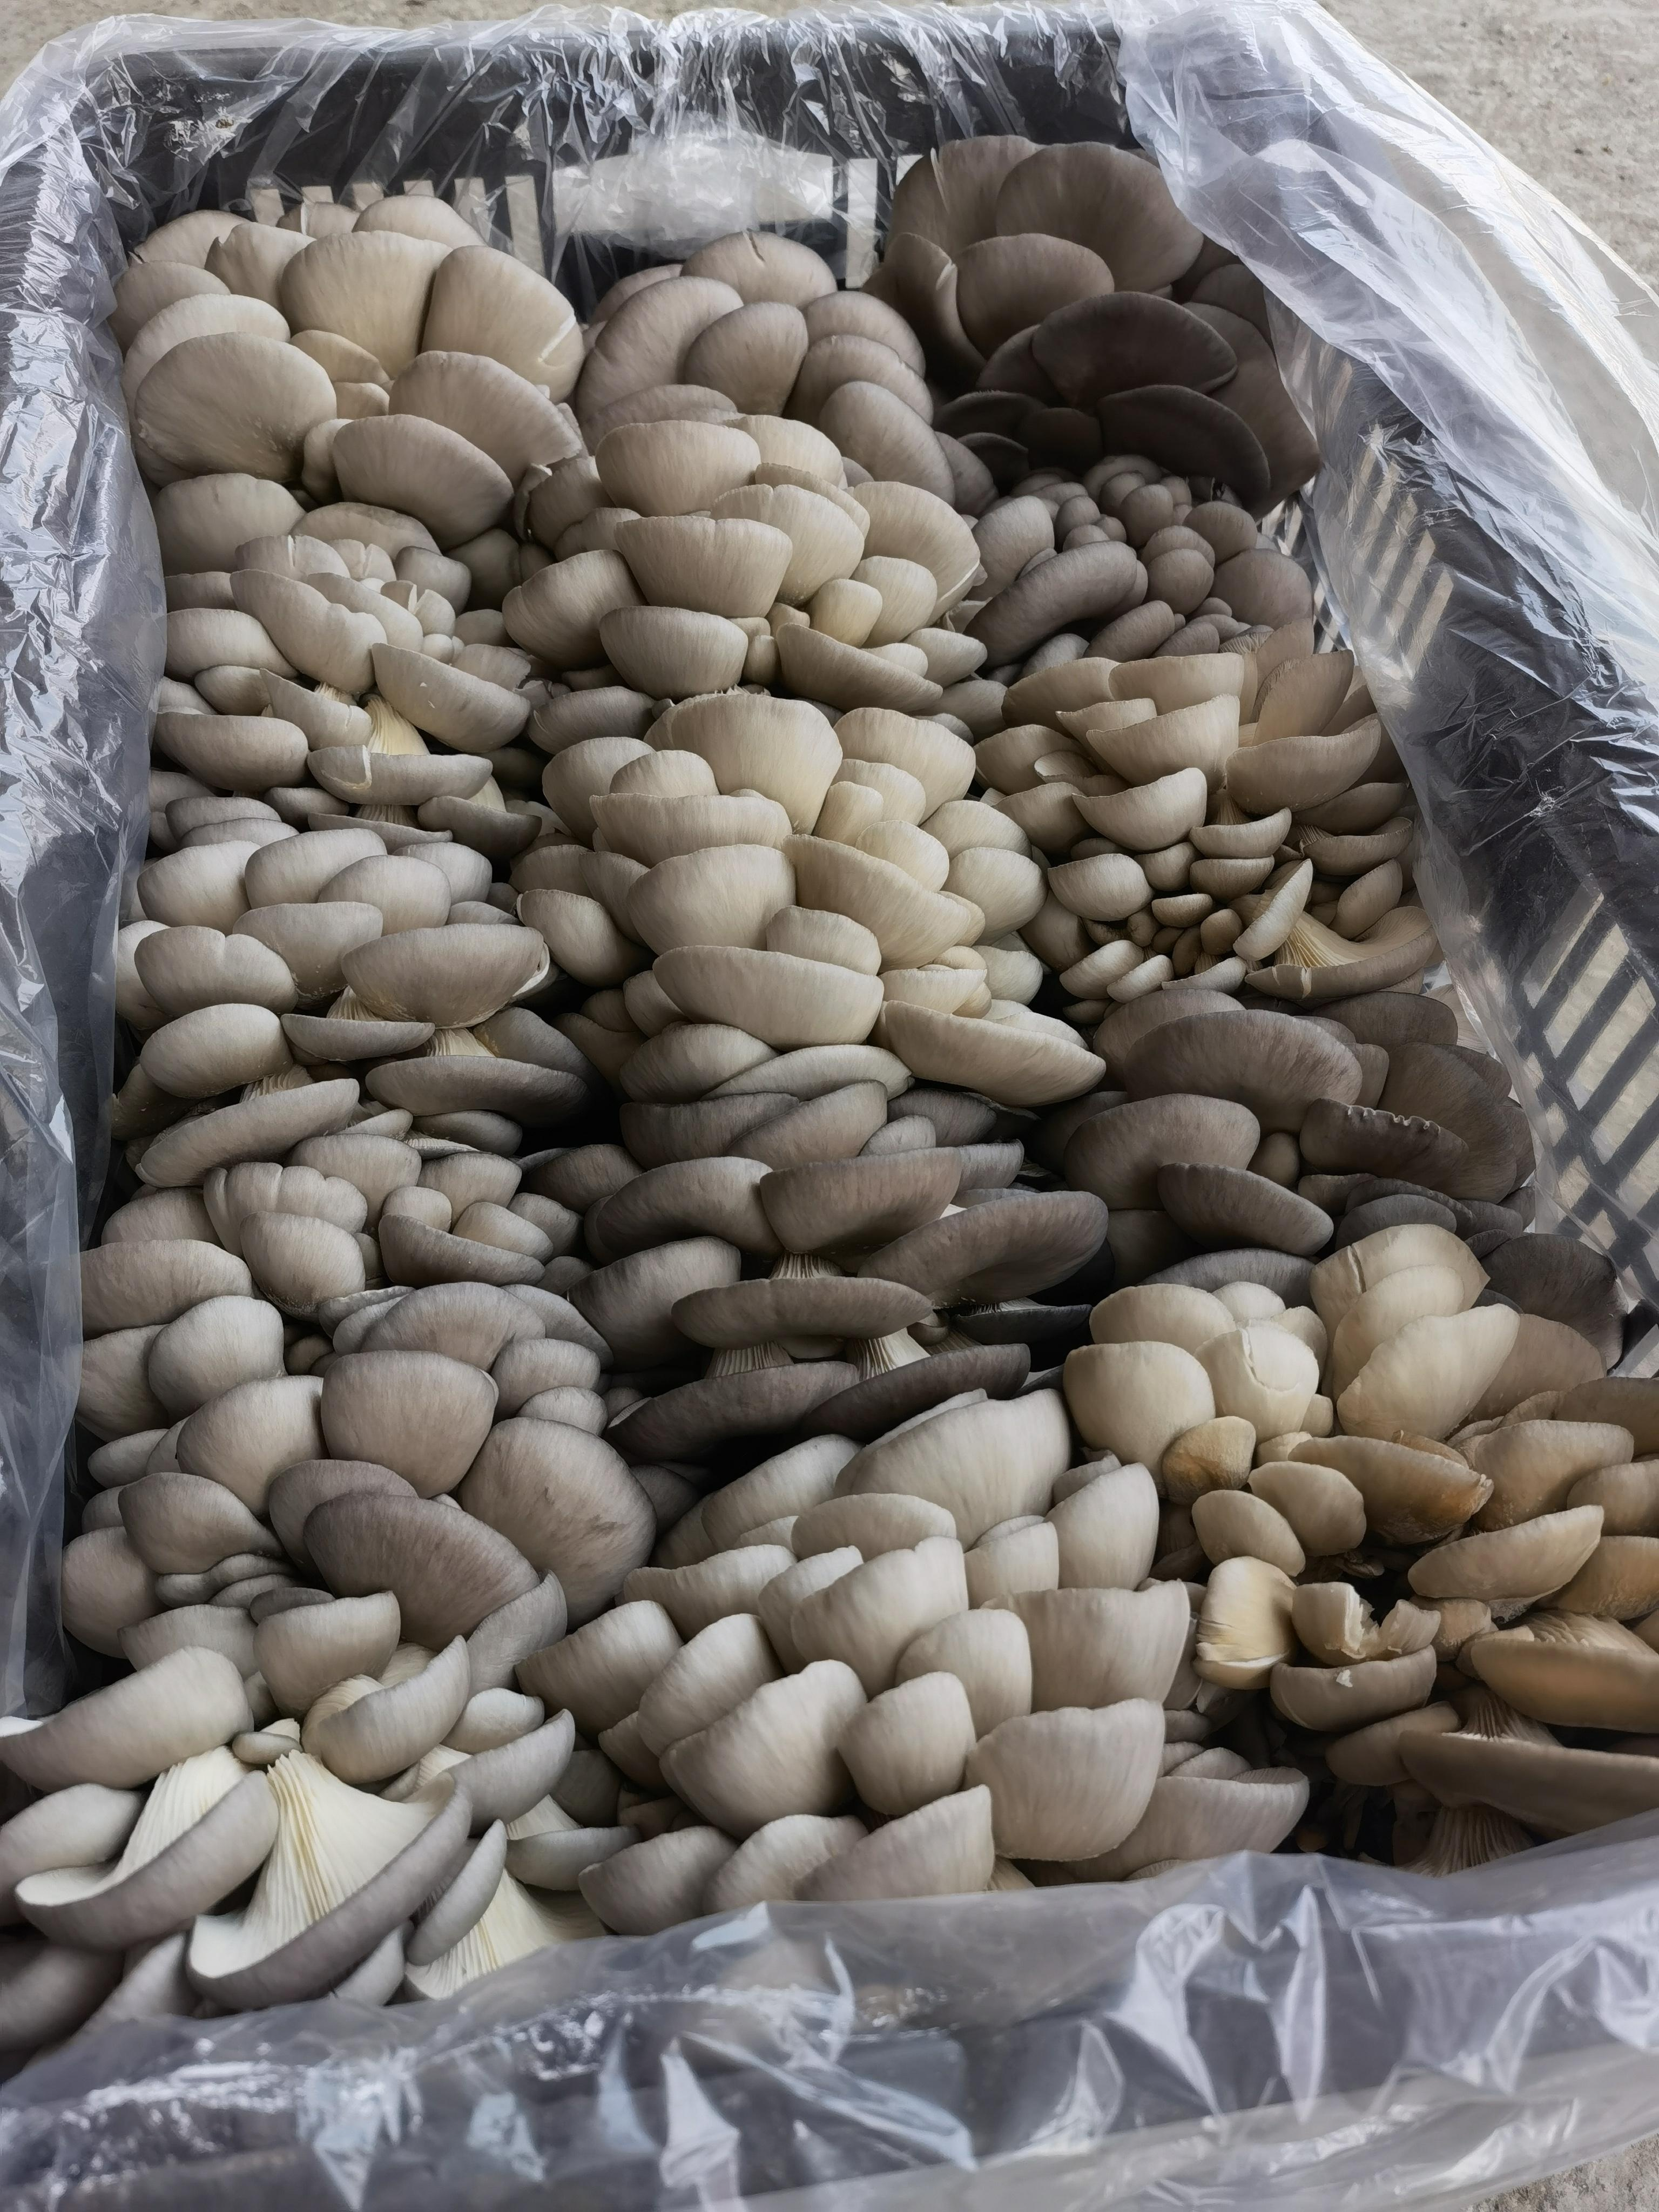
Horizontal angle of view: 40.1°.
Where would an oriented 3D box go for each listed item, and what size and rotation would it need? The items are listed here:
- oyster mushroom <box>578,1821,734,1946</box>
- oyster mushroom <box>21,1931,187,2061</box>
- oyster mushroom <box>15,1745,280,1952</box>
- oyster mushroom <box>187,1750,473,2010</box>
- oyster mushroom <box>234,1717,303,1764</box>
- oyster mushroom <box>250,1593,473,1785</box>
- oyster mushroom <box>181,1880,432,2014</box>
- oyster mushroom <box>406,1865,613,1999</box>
[{"bbox_3d":[-0.051,0.234,0.685,0.046,0.029,0.012,-16,16,7],"label":"oyster mushroom"},{"bbox_3d":[-0.207,0.260,0.665,0.035,0.033,0.027,-5,41,-42],"label":"oyster mushroom"},{"bbox_3d":[-0.210,0.222,0.697,0.077,0.028,0.068,-16,9,20],"label":"oyster mushroom"},{"bbox_3d":[-0.160,0.232,0.687,0.068,0.063,0.040,-16,62,-48],"label":"oyster mushroom"},{"bbox_3d":[-0.176,0.198,0.714,0.015,0.005,0.013,12,0,3],"label":"oyster mushroom"},{"bbox_3d":[-0.138,0.183,0.753,0.063,0.058,0.043,46,58,-19],"label":"oyster mushroom"},{"bbox_3d":[-0.150,0.240,0.660,0.061,0.056,0.035,15,32,-16],"label":"oyster mushroom"},{"bbox_3d":[-0.099,0.256,0.713,0.040,0.031,0.037,-18,10,-24],"label":"oyster mushroom"}]
